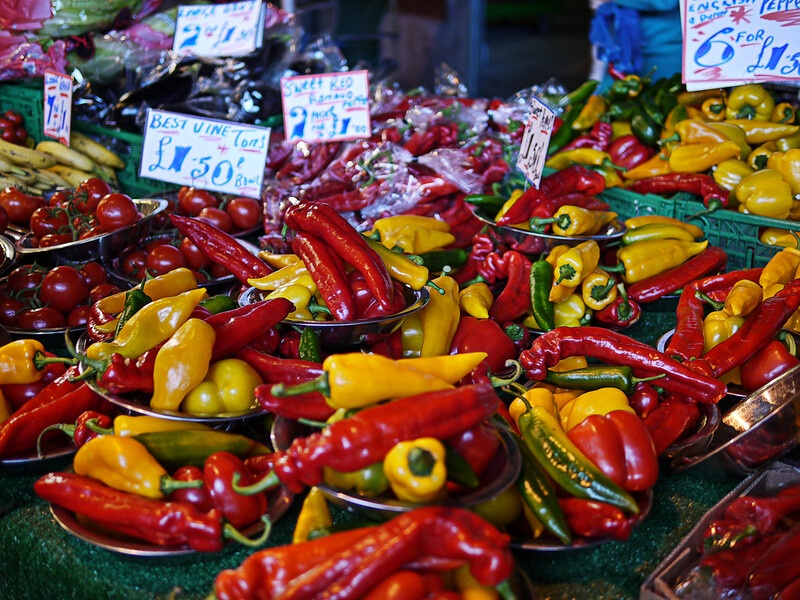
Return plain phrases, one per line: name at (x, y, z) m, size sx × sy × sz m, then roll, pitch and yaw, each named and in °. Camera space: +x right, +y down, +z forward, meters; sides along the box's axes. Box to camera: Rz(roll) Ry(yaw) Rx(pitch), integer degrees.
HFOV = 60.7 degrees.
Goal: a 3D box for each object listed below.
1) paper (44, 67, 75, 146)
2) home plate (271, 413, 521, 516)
paper at (-2.474, -1.396, 4.928) m, size 0.458 × 0.506 × 0.021 m, roll 23°, pitch 24°, yaw 36°
home plate at (-0.018, 0.586, 2.335) m, size 0.861 × 0.240 × 0.389 m, roll 3°, pitch 25°, yaw -4°
